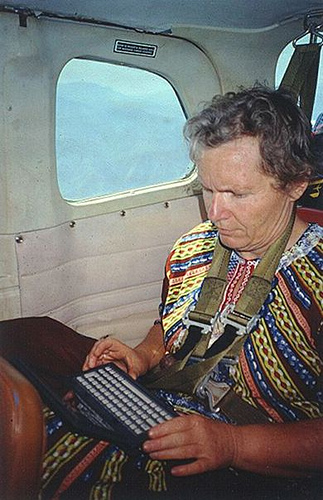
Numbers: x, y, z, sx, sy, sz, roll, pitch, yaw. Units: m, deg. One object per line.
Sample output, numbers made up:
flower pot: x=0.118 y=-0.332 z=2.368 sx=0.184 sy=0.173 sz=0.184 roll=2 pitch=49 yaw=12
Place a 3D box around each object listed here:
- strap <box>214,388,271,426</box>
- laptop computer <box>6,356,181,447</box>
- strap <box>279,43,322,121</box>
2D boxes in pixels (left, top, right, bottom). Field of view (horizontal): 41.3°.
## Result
strap: x=0.215 y=0.435 z=1.165 sx=0.068 sy=0.031 sz=0.116 roll=-40 pitch=39 yaw=-9
laptop computer: x=-0.136 y=0.396 z=1.100 sx=0.220 sy=0.104 sz=0.239 roll=-19 pitch=37 yaw=-36
strap: x=0.524 y=-0.662 z=1.602 sx=0.122 sy=0.272 sz=0.211 roll=-1 pitch=7 yaw=8
